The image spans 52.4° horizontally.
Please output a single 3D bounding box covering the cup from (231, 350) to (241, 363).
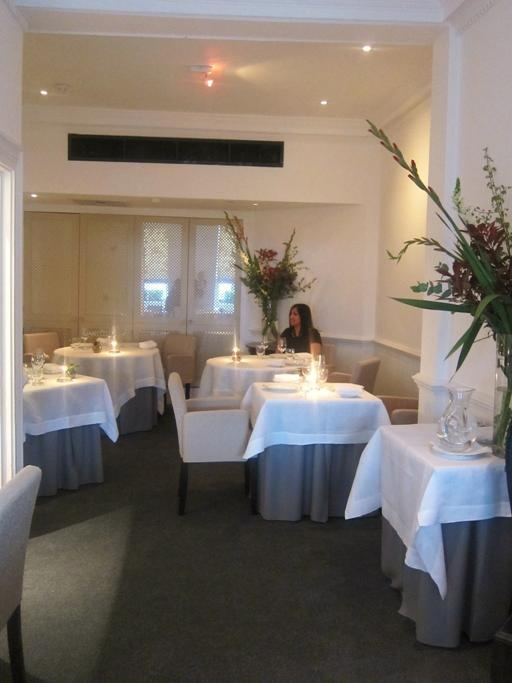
[{"bbox_3d":[-0.197,0.153,5.110,0.077,0.180,0.086,2,11,9],"label":"cup"}]

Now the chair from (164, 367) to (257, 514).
[{"bbox_3d":[-0.327,0.597,3.799,0.673,1.316,0.714,-1,7,-5],"label":"chair"}]

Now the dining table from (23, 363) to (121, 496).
[{"bbox_3d":[-1.294,0.606,3.742,0.602,0.725,0.679,0,4,-18],"label":"dining table"}]

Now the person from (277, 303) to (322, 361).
[{"bbox_3d":[0.529,-0.112,6.021,0.473,0.869,0.608,3,1,-27],"label":"person"}]

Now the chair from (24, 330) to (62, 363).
[{"bbox_3d":[-2.457,0.064,5.981,0.343,0.568,0.356,0,-3,-40],"label":"chair"}]

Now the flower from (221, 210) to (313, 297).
[{"bbox_3d":[0.138,-1.305,7.279,1.039,1.816,1.142,0,7,-1],"label":"flower"}]

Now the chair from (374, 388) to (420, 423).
[{"bbox_3d":[1.015,0.461,3.615,0.200,0.300,0.211,4,-3,-18],"label":"chair"}]
